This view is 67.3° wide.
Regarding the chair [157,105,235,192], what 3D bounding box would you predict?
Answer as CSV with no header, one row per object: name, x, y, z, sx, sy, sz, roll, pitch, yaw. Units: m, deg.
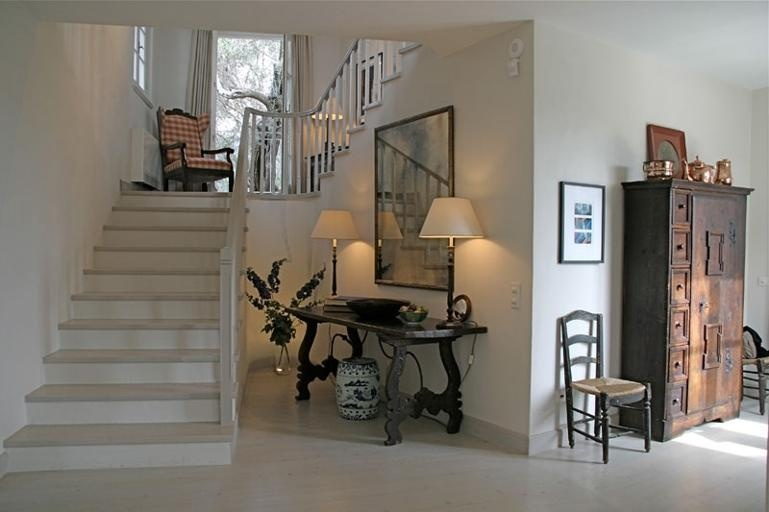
chair,-2.504,-1.371,7.594,0.777,1.179,0.742,3,5,41

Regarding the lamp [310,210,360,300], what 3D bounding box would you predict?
lamp,-0.532,-0.014,6.688,0.500,1.049,0.666,1,9,5

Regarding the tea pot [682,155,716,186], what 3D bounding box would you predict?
tea pot,3.086,-0.824,5.640,0.386,0.272,0.257,-1,3,-19

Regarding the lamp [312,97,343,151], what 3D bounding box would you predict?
lamp,-0.709,-1.701,7.380,0.339,0.622,1.103,-1,9,-7

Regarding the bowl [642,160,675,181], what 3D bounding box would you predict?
bowl,2.527,-0.782,5.330,0.221,0.149,0.195,0,3,-9

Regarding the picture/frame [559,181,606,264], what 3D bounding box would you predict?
picture/frame,1.744,-0.306,5.157,0.736,0.797,0.058,-2,4,-33

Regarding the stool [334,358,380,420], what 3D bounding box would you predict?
stool,-0.200,1.313,5.808,0.499,0.550,0.516,1,1,34

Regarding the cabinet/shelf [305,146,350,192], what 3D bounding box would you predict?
cabinet/shelf,-0.696,-1.078,7.190,0.304,0.244,0.727,0,2,-31

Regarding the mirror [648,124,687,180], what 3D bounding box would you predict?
mirror,2.717,-1.001,5.584,0.608,0.575,0.064,6,-11,-42

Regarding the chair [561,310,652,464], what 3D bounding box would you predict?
chair,1.996,1.087,5.088,0.813,1.164,0.606,-4,10,-27

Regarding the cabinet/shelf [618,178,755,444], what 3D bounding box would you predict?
cabinet/shelf,2.881,0.454,5.485,1.287,2.324,0.647,-3,10,-20

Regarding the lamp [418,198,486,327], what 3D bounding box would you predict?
lamp,0.626,0.023,5.306,0.527,1.121,0.503,4,10,23
